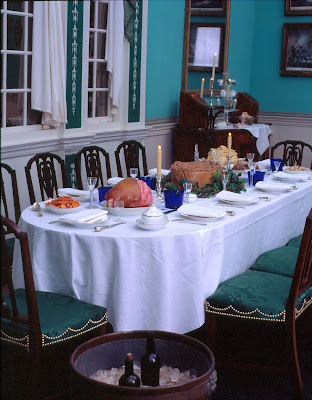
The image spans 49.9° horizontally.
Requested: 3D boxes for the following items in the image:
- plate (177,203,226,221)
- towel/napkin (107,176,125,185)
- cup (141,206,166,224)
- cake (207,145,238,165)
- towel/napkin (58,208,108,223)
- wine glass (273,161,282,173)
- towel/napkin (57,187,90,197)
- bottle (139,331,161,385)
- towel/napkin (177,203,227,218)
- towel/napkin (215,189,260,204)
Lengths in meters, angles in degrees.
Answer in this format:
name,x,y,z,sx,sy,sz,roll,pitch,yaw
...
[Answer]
name,x,y,z,sx,sy,sz,roll,pitch,yaw
plate,0.239,0.064,1.803,0.139,0.051,0.132,4,8,34
towel/napkin,-0.289,-0.141,2.404,0.108,0.040,0.114,12,16,43
cup,-0.009,0.070,1.643,0.073,0.076,0.100,1,2,33
cake,0.607,-0.408,3.110,0.237,0.158,0.366,7,10,29
towel/napkin,-0.343,0.080,1.642,0.097,0.035,0.133,6,12,42
wine glass,1.104,-0.297,3.035,0.083,0.120,0.083,1,9,21
towel/napkin,-0.522,-0.049,2.128,0.104,0.038,0.099,-1,7,-45
bottle,-0.020,0.499,1.116,0.062,0.212,0.127,0,15,-4
towel/napkin,0.241,0.062,1.806,0.127,0.039,0.129,10,13,33
towel/napkin,0.509,-0.011,2.114,0.185,0.057,0.116,8,14,31
